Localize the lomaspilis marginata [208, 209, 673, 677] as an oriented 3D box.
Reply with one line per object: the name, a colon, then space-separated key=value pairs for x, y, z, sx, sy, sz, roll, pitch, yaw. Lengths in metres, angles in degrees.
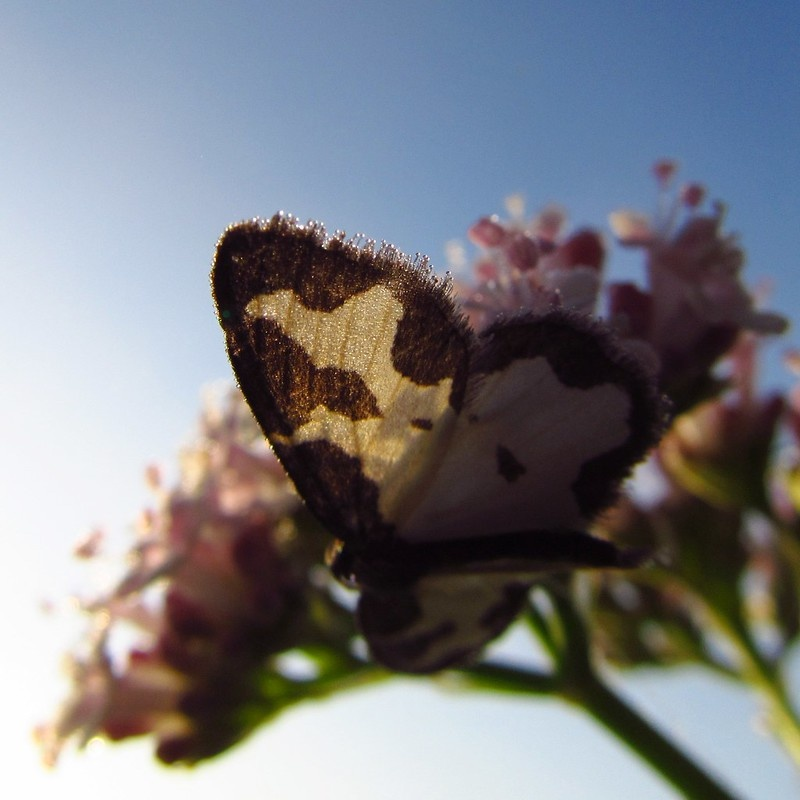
lomaspilis marginata: x=0.014 y=0.020 z=0.779 sx=0.369 sy=0.204 sz=0.185 roll=14 pitch=-30 yaw=-8
